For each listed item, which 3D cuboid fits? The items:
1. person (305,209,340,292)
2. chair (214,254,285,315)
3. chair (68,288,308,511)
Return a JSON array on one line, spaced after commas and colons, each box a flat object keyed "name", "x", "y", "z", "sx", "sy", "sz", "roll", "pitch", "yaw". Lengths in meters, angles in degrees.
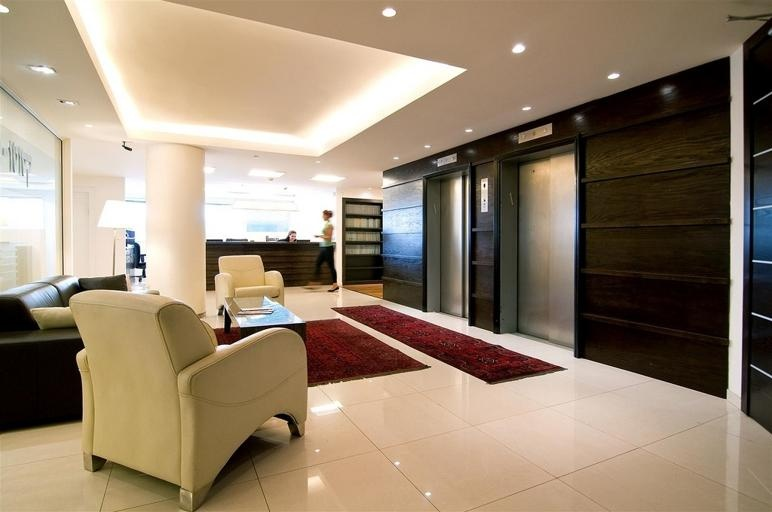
[{"name": "person", "x": -1.574, "y": -0.177, "z": 12.403, "sx": 0.745, "sy": 1.931, "sz": 1.438, "roll": 0, "pitch": 5, "yaw": -9}, {"name": "chair", "x": -2.372, "y": 0.516, "z": 8.469, "sx": 1.021, "sy": 0.953, "sz": 0.973, "roll": -4, "pitch": 3, "yaw": -32}, {"name": "chair", "x": -1.651, "y": 0.937, "z": 4.518, "sx": 1.688, "sy": 1.678, "sz": 1.762, "roll": 1, "pitch": 3, "yaw": 31}]
